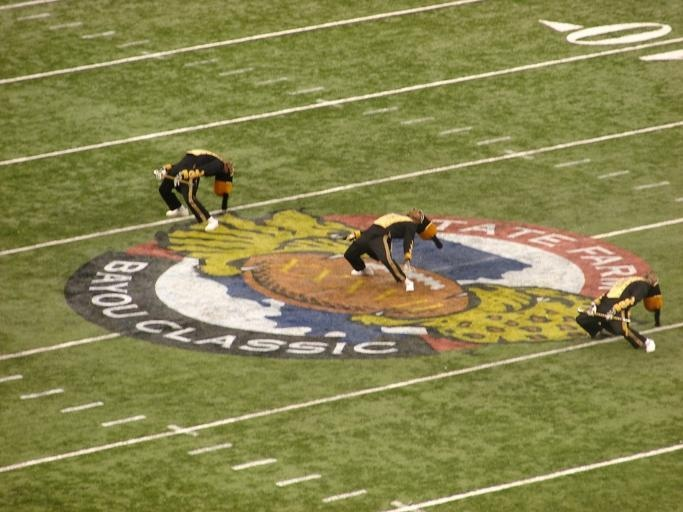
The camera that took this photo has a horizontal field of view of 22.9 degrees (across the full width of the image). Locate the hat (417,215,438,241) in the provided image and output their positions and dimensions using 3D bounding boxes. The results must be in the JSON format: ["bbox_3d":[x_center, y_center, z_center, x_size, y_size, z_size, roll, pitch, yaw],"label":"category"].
[{"bbox_3d":[1.532,-0.490,30.538,0.312,0.459,0.369,-29,39,-20],"label":"hat"}]

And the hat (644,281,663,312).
[{"bbox_3d":[5.267,0.705,28.607,0.407,0.526,0.443,0,23,3],"label":"hat"}]

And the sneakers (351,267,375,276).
[{"bbox_3d":[0.383,0.293,30.229,0.344,0.095,0.142,3,6,-7],"label":"sneakers"}]

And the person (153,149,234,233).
[{"bbox_3d":[-2.885,-1.372,32.378,1.293,1.155,1.755,16,12,43],"label":"person"}]
